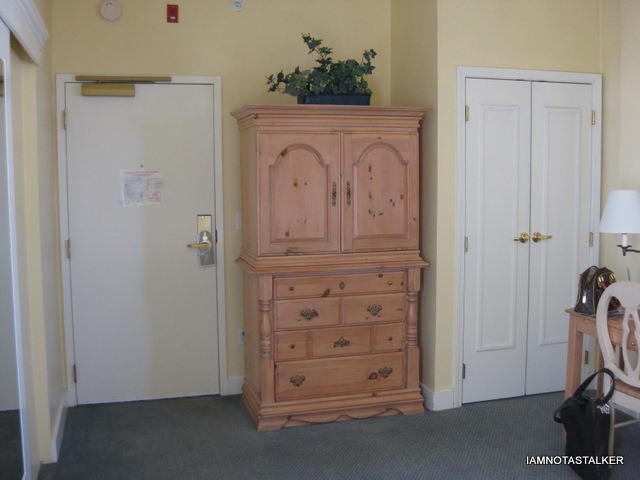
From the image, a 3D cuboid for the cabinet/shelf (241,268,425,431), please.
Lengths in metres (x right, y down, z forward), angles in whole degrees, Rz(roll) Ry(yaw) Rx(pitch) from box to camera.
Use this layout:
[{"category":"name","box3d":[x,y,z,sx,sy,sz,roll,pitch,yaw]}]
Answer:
[{"category":"cabinet/shelf","box3d":[0.173,0.759,4.476,1.723,1.817,0.985,-1,2,-9]}]

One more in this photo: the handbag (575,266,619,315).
[{"category":"handbag","box3d":[1.826,0.340,3.543,0.205,0.289,0.191,8,15,33]}]

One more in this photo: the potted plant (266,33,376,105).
[{"category":"potted plant","box3d":[0.001,-1.354,4.179,0.789,0.570,0.636,-1,13,-5]}]

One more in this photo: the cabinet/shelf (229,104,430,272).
[{"category":"cabinet/shelf","box3d":[0.106,-0.388,3.944,1.143,1.083,0.452,0,2,-11]}]
